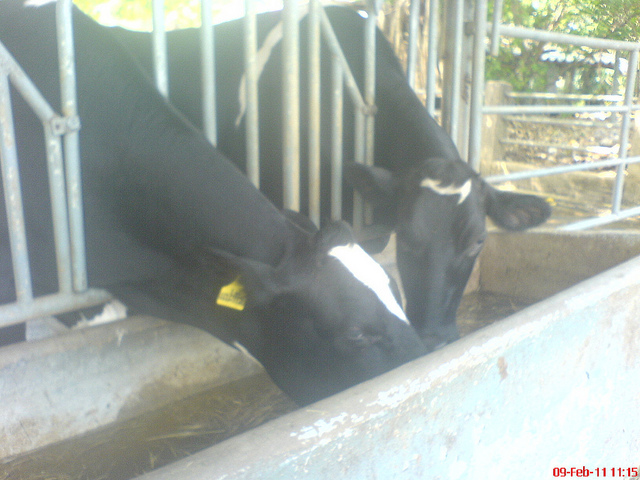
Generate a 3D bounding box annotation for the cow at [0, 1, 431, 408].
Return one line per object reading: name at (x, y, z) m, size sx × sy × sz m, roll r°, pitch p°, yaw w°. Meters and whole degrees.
cow at (-0.335, -0.110, 1.633) m, size 1.163 × 1.100 × 0.334 m, roll 0°, pitch 10°, yaw 19°

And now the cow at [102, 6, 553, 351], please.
cow at (-0.249, -0.450, 2.422) m, size 0.710 × 1.282 × 2.134 m, roll -7°, pitch 23°, yaw -42°

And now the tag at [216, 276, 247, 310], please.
tag at (-0.201, 0.122, 1.503) m, size 0.068 × 0.084 × 0.068 m, roll 21°, pitch -14°, yaw -32°
